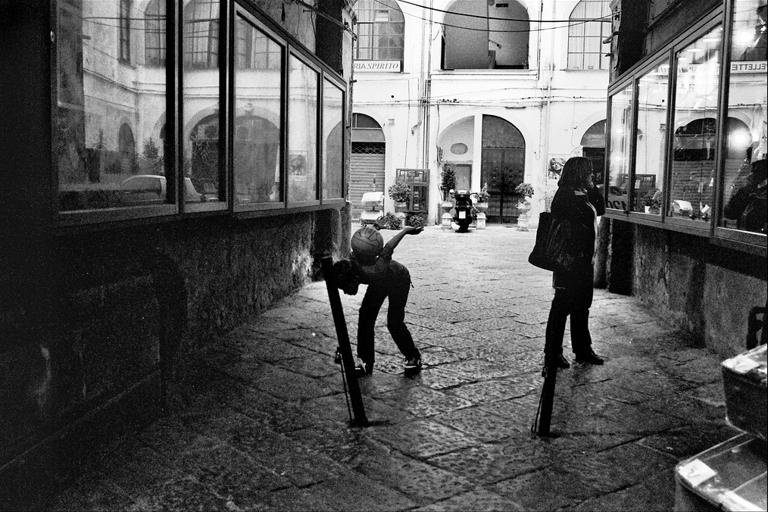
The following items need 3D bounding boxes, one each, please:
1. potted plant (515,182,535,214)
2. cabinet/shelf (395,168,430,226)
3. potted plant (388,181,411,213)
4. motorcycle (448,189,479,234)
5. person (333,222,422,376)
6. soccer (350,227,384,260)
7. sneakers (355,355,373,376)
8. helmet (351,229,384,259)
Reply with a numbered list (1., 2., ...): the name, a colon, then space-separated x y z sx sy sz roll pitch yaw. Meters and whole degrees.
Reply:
1. potted plant: 5.059 -2.069 23.337 0.616 1.105 1.674 3 10 15
2. cabinet/shelf: 0.952 -2.363 24.890 1.553 3.247 1.552 1 3 5
3. potted plant: 0.573 -2.147 23.721 0.956 1.430 0.939 -1 1 -6
4. motorcycle: 2.673 -1.485 21.668 0.802 1.342 2.065 2 10 8
5. person: -0.005 0.388 5.475 0.658 1.352 1.145 2 9 4
6. soccer: -0.126 -0.115 5.134 0.220 0.294 0.251 1 8 4
7. sneakers: -0.174 0.959 5.650 0.176 0.176 0.148 0 1 5
8. helmet: -0.135 -0.105 5.097 0.202 0.235 0.218 0 9 0
